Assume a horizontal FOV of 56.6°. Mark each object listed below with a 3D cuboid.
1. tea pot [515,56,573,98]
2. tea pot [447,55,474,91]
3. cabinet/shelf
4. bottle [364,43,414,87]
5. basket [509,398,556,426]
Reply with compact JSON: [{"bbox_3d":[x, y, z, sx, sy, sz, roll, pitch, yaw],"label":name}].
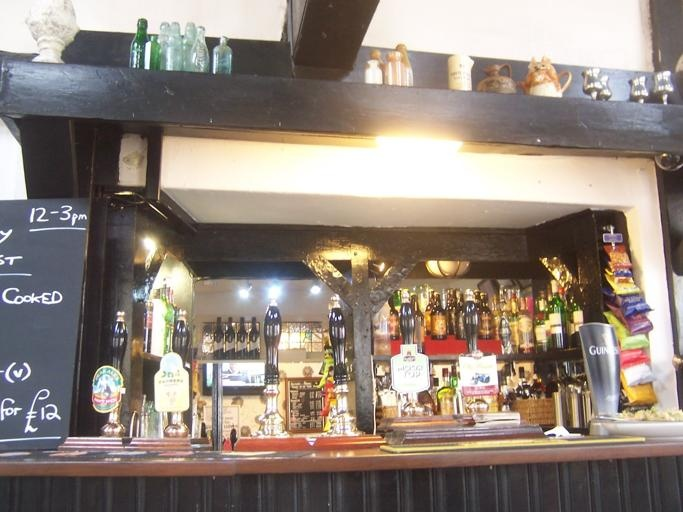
[{"bbox_3d":[1.224,-1.033,3.787,0.186,0.285,0.277,-6,8,35],"label":"tea pot"},{"bbox_3d":[0.702,-1.056,3.783,0.120,0.217,0.203,-3,-1,13],"label":"tea pot"},{"bbox_3d":[0.613,0.843,4.260,1.796,0.533,1.467,7,-15,-43],"label":"cabinet/shelf"},{"bbox_3d":[0.264,-1.069,3.581,0.268,0.307,0.149,6,-13,-39],"label":"bottle"},{"bbox_3d":[1.347,1.094,4.424,0.303,0.185,0.175,-9,-12,29],"label":"basket"}]
